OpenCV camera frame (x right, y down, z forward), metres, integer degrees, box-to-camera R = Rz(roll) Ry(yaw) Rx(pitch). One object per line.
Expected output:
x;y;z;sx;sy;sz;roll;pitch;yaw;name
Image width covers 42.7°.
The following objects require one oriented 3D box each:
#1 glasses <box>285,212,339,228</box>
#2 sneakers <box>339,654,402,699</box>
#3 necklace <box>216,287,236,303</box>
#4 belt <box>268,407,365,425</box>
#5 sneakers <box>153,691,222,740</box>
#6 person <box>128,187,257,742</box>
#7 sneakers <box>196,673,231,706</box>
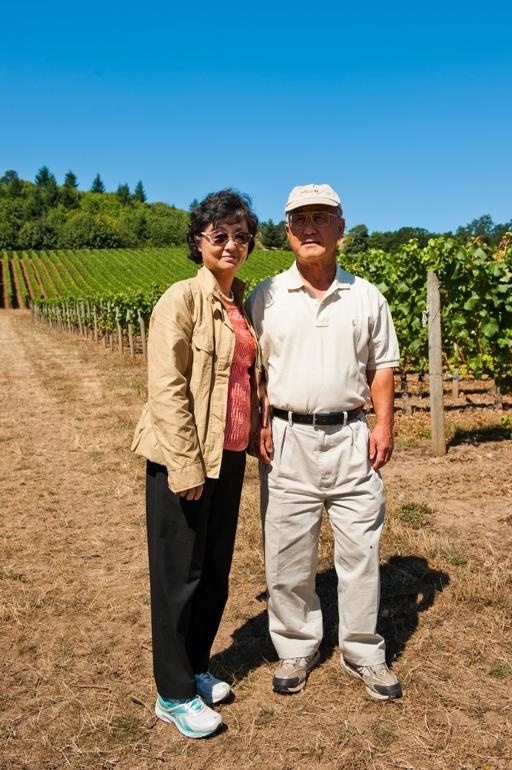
0.220;-0.645;2.579;0.185;0.063;0.079;-3;9;4;glasses
0.473;1.188;2.677;0.092;0.096;0.219;8;-3;-29;sneakers
-0.117;-0.338;2.471;0.049;0.025;0.061;7;-1;-11;necklace
0.248;0.128;2.670;0.381;0.072;0.146;-3;8;1;belt
-0.256;1.220;2.479;0.244;0.113;0.117;8;11;25;sneakers
-0.209;0.286;2.491;0.340;2.023;0.585;3;12;36;person
-0.168;1.210;2.624;0.167;0.075;0.079;-6;-4;45;sneakers
